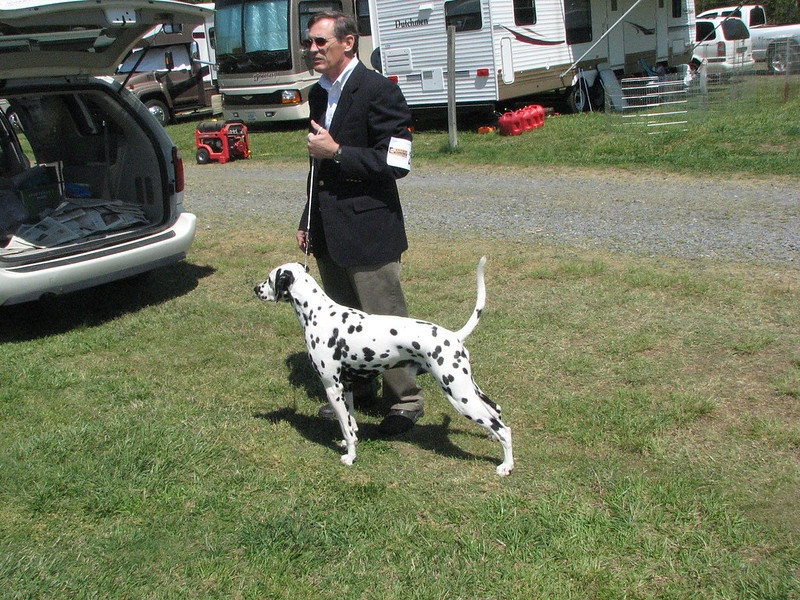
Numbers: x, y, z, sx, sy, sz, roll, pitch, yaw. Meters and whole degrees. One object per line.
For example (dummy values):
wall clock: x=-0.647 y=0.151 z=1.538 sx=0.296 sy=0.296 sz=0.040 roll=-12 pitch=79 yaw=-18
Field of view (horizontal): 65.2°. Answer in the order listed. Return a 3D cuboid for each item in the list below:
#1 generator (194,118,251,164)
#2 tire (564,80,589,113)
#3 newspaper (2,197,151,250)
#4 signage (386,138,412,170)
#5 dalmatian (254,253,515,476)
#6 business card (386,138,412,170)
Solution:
generator: x=-3.818 y=-3.403 z=13.307 sx=1.073 sy=0.861 sz=0.898 roll=5 pitch=20 yaw=23
tire: x=4.317 y=-5.030 z=15.272 sx=0.219 sy=0.668 sz=0.666 roll=13 pitch=23 yaw=41
newspaper: x=-3.200 y=-0.746 z=6.083 sx=0.802 sy=0.196 sz=0.710 roll=-19 pitch=30 yaw=-30
signage: x=-0.023 y=-0.882 z=3.737 sx=0.179 sy=0.198 sz=0.023 roll=7 pitch=-6 yaw=-21
dalmatian: x=-0.119 y=0.398 z=3.840 sx=1.589 sy=1.187 sz=0.479 roll=0 pitch=17 yaw=11
business card: x=-0.023 y=-0.882 z=3.737 sx=0.179 sy=0.198 sz=0.023 roll=7 pitch=-6 yaw=-21
